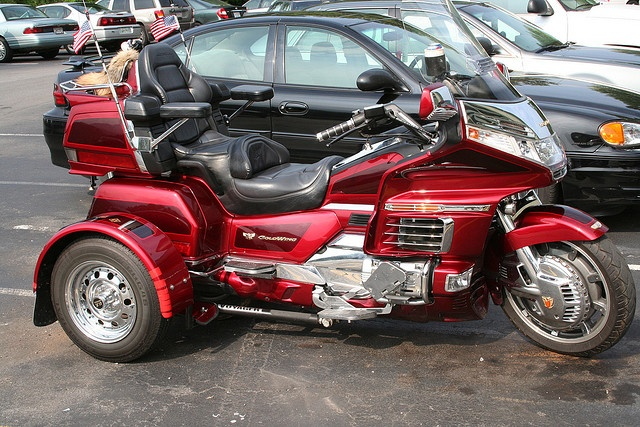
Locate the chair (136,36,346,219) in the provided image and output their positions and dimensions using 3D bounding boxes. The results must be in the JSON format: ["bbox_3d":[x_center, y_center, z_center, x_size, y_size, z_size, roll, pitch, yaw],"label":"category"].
[{"bbox_3d":[-0.579,-0.634,3.767,1.953,1.025,1.014,19,34,6],"label":"chair"}]

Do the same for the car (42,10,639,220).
[{"bbox_3d":[0.560,-1.269,5.977,7.898,1.649,2.949,0,19,9],"label":"car"}]

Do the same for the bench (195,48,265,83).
[{"bbox_3d":[-1.172,-2.036,6.260,1.601,0.291,0.198,15,19,42],"label":"bench"}]
